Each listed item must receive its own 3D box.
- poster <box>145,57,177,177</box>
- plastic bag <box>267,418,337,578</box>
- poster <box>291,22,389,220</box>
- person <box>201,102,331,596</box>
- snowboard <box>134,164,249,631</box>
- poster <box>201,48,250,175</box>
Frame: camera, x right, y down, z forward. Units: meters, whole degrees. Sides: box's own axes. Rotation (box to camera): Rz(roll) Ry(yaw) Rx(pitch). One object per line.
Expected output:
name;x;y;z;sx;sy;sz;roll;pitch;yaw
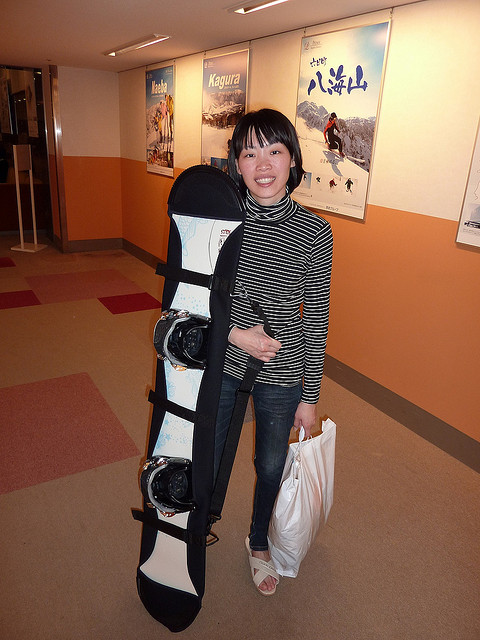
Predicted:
poster;-0.899;-2.353;5.020;0.049;1.354;0.870;-10;25;-29
plastic bag;0.218;0.529;1.407;0.115;0.429;0.314;18;34;40
poster;0.631;-1.246;2.826;0.107;1.127;0.741;-6;16;-32
person;0.072;0.202;1.285;0.317;1.504;0.306;3;12;5
snowboard;-0.127;0.216;1.268;0.295;1.460;0.181;5;11;23
poster;-0.167;-1.879;3.957;0.141;0.987;0.890;-3;15;-24
